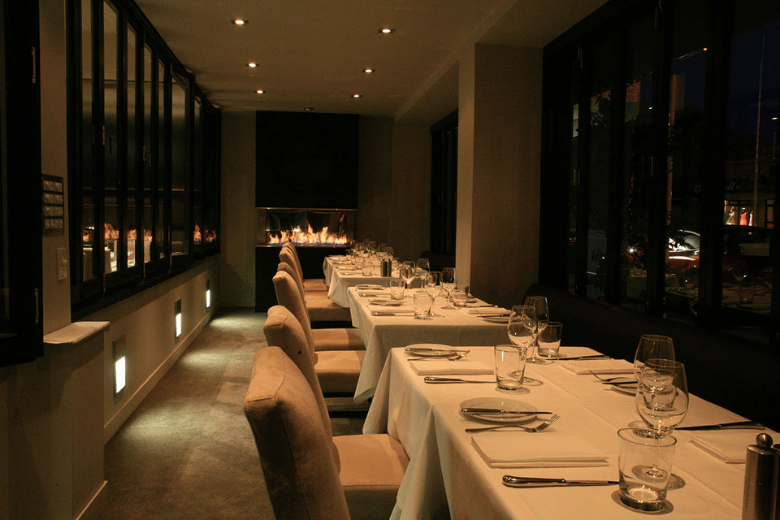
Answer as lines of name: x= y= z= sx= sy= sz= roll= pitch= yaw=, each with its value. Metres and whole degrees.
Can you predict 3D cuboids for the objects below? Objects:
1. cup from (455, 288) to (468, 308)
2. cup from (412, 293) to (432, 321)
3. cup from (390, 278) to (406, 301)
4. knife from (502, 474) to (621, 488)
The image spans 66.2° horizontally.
cup: x=0.544 y=0.297 z=4.698 sx=0.129 sy=0.160 sz=0.131 roll=-1 pitch=3 yaw=0
cup: x=0.235 y=0.338 z=4.458 sx=0.157 sy=0.256 sz=0.155 roll=0 pitch=-2 yaw=0
cup: x=0.054 y=0.228 z=4.681 sx=0.145 sy=0.178 sz=0.147 roll=-1 pitch=4 yaw=0
knife: x=0.638 y=0.821 z=2.229 sx=0.458 sy=0.046 sz=0.065 roll=-1 pitch=-1 yaw=1
